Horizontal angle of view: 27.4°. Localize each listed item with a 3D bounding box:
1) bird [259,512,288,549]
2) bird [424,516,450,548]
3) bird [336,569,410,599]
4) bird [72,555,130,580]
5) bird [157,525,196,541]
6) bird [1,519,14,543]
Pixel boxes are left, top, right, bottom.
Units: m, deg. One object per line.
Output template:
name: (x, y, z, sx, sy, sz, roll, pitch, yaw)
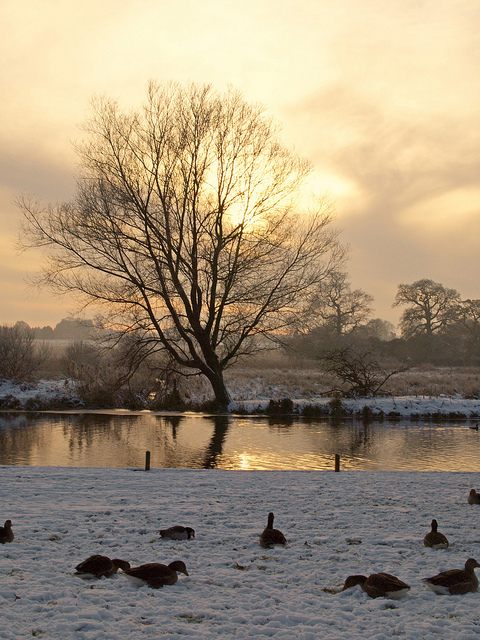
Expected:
bird: (0.577, 3.699, 17.213, 0.401, 0.403, 0.580, -4, -50, 4)
bird: (3.485, 3.751, 17.304, 0.327, 0.388, 0.565, -1, 7, 0)
bird: (2.128, 4.169, 15.557, 1.030, 0.409, 0.450, -11, -11, 26)
bird: (-2.270, 4.015, 15.963, 0.924, 0.381, 0.345, 15, 13, -26)
bird: (-1.115, 3.750, 17.424, 0.572, 0.239, 0.253, 3, -6, 0)
bird: (-4.012, 3.618, 16.876, 0.195, 0.309, 0.240, 16, 1, -42)
